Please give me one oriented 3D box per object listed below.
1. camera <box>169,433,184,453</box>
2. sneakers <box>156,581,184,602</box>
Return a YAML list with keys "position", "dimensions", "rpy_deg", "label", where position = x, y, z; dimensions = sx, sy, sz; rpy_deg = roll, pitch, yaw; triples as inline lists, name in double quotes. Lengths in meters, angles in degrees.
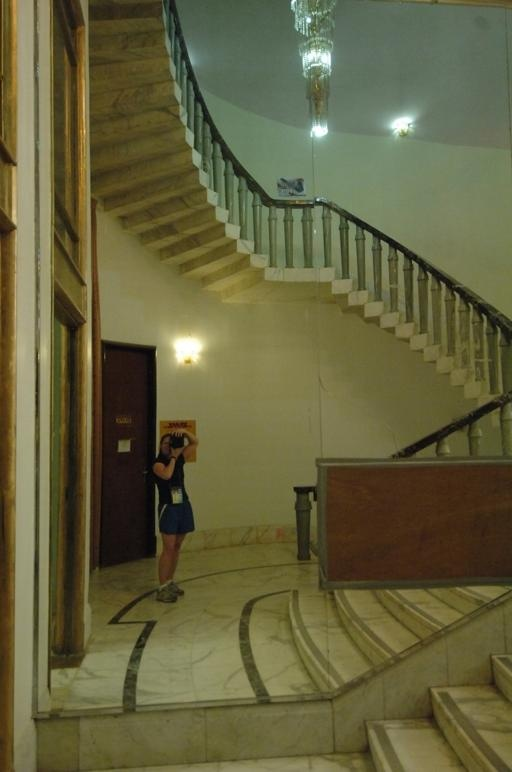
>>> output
- position: [-0.447, 0.316, 4.498]
  dimensions: [0.060, 0.129, 0.088]
  rpy_deg: [-12, -28, 22]
  label: "camera"
- position: [-0.442, 1.075, 4.179]
  dimensions: [0.121, 0.056, 0.075]
  rpy_deg: [-7, -4, 37]
  label: "sneakers"
